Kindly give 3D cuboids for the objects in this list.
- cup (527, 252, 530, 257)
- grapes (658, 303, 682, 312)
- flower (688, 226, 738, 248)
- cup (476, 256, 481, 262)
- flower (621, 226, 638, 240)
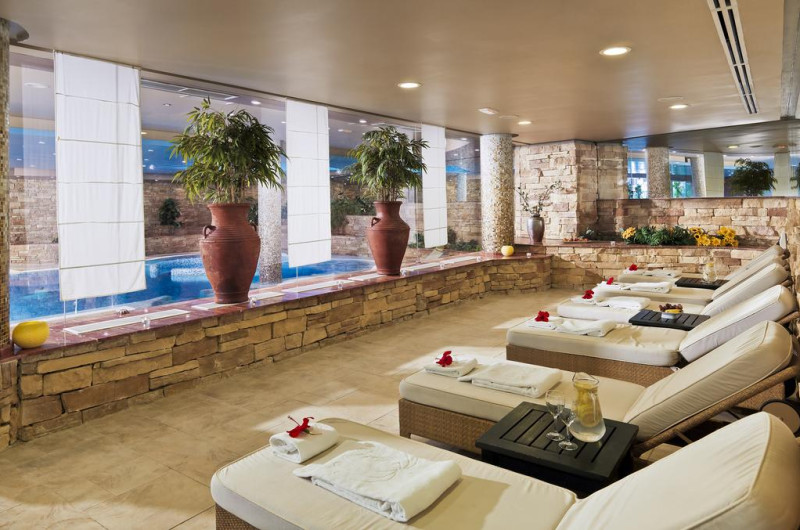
[{"bbox_3d":[2.618,-0.216,9.542,0.078,0.073,0.126,-1,5,2],"label":"cup"},{"bbox_3d":[2.668,0.423,4.625,0.146,0.051,0.157,2,-3,-39],"label":"grapes"},{"bbox_3d":[6.358,-0.548,9.434,0.675,0.242,0.637,-3,1,32],"label":"flower"},{"bbox_3d":[1.508,-0.118,9.007,0.104,0.078,0.095,1,3,0],"label":"cup"},{"bbox_3d":[5.005,-0.715,10.142,0.314,0.159,0.310,-4,3,41],"label":"flower"}]
